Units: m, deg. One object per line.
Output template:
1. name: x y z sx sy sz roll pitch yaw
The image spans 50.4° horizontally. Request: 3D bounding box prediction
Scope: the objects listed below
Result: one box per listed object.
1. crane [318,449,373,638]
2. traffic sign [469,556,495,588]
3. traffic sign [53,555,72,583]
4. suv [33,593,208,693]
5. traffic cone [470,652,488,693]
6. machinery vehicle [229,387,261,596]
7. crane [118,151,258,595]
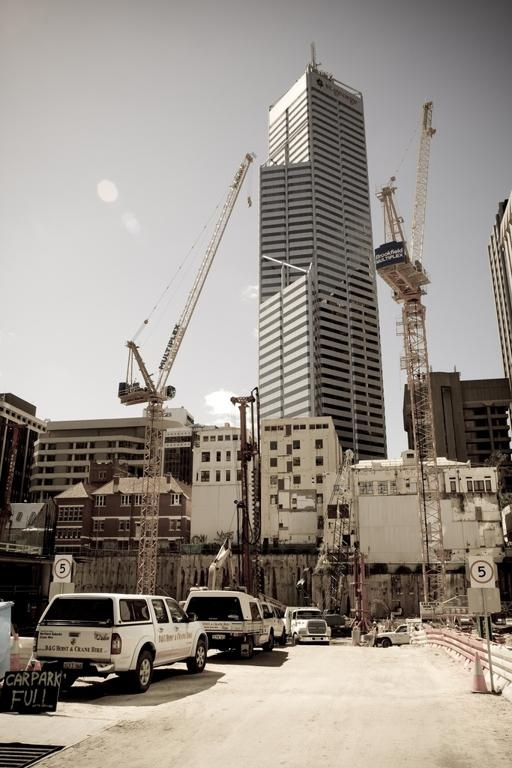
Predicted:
1. crane: 8.724 15.347 59.480 6.151 20.227 34.607 -3 -15 10
2. traffic sign: 5.001 4.134 12.035 0.516 0.634 0.718 -6 -16 20
3. traffic sign: -5.356 5.122 15.092 0.453 0.749 0.894 5 -16 -21
4. suv: -2.490 5.484 11.674 1.964 1.881 4.485 -7 -22 15
5. traffic cone: 4.546 5.869 11.063 0.318 0.668 1.299 -5 -16 20
6. machinery vehicle: -1.121 9.672 61.338 2.378 19.636 3.238 24 -50 -26
7. crane: -11.338 1.523 75.779 13.416 51.836 5.779 -4 -13 9
